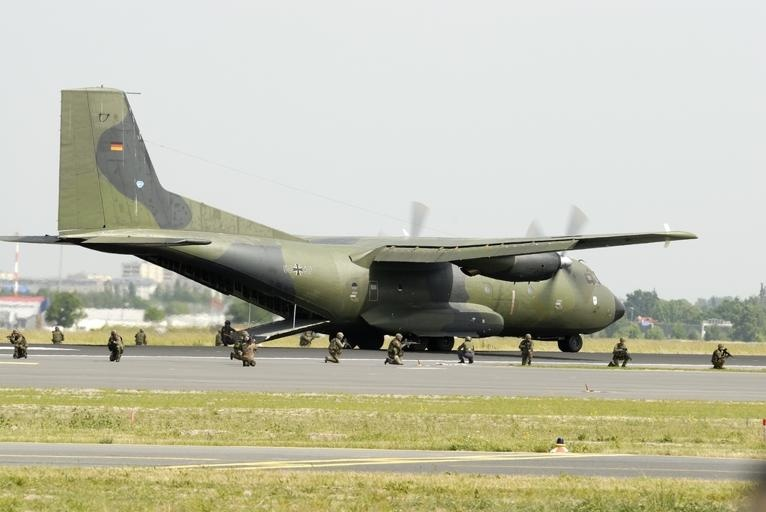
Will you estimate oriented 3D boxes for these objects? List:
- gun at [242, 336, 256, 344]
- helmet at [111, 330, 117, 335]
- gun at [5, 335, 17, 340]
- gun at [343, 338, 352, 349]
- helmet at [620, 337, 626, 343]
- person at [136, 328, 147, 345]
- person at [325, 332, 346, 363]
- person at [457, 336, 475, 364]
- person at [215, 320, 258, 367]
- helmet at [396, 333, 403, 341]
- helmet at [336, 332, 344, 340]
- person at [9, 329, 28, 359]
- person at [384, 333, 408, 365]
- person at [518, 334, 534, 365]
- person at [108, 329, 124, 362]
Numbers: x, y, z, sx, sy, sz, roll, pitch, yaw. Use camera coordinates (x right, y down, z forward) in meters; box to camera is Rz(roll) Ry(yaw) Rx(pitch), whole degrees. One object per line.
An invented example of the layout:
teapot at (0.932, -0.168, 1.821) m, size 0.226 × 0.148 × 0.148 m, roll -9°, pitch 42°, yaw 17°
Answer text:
gun at (-4.884, 3.003, 50.092) m, size 0.569 × 0.281 × 0.715 m, roll 0°, pitch 0°, yaw -8°
helmet at (-9.694, 2.730, 49.836) m, size 0.187 × 0.213 × 0.221 m, roll 1°, pitch -1°, yaw 14°
gun at (-13.732, 3.006, 51.460) m, size 0.457 × 0.144 × 0.429 m, roll -3°, pitch 6°, yaw 4°
gun at (-1.562, 3.806, 59.823) m, size 0.242 × 0.285 × 0.713 m, roll -1°, pitch 6°, yaw 3°
helmet at (9.265, 3.295, 54.217) m, size 0.242 × 0.114 × 0.276 m, roll 0°, pitch 7°, yaw 4°
person at (-10.767, 3.589, 61.867) m, size 0.609 × 0.821 × 0.590 m, roll 2°, pitch 9°, yaw 3°
person at (-1.620, 3.466, 51.864) m, size 1.123 × 1.298 × 0.800 m, roll 0°, pitch -1°, yaw -14°
person at (2.908, 3.638, 53.281) m, size 0.912 × 1.108 × 0.843 m, roll 4°, pitch 4°, yaw -5°
person at (-5.098, 3.380, 50.307) m, size 1.370 × 0.859 × 1.655 m, roll 2°, pitch 1°, yaw 8°
helmet at (0.579, 3.040, 51.921) m, size 0.334 × 0.370 × 0.368 m, roll 2°, pitch -3°, yaw -1°
helmet at (-1.741, 2.982, 52.702) m, size 0.330 × 0.319 × 0.412 m, roll 0°, pitch -12°, yaw 12°
person at (-13.446, 3.220, 51.317) m, size 0.649 × 1.065 × 1.291 m, roll 4°, pitch -4°, yaw -16°
person at (0.579, 3.459, 52.274) m, size 1.097 × 1.331 × 0.865 m, roll 0°, pitch 4°, yaw -13°
person at (5.441, 3.587, 53.112) m, size 0.471 × 1.114 × 1.008 m, roll 3°, pitch -4°, yaw 4°
person at (-9.816, 3.322, 50.046) m, size 0.697 × 0.681 × 1.086 m, roll 3°, pitch -38°, yaw 2°
